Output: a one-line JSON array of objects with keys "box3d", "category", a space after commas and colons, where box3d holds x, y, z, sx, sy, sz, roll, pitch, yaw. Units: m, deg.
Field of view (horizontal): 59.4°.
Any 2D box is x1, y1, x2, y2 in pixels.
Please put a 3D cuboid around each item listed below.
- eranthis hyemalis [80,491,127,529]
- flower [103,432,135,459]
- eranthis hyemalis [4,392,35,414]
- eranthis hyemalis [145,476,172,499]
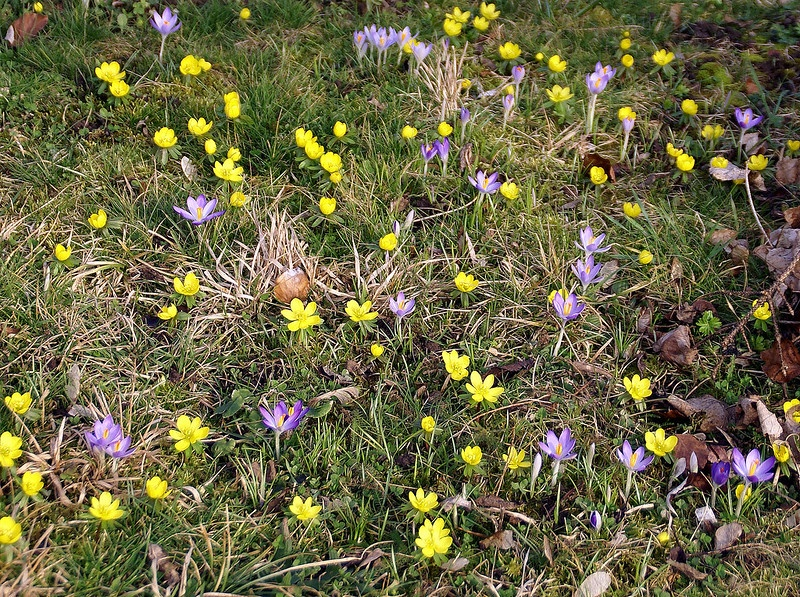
[{"box3d": [-1.354, 0.955, 3.190, 0.177, 0.086, 0.160, 39, 59, -20], "category": "eranthis hyemalis"}, {"box3d": [-1.334, 0.705, 3.330, 0.117, 0.086, 0.132, -17, 44, -24], "category": "flower"}, {"box3d": [-1.853, 0.505, 3.404, 0.107, 0.064, 0.098, -47, 108, -12], "category": "eranthis hyemalis"}, {"box3d": [-1.130, 0.883, 3.259, 0.076, 0.071, 0.066, 29, 31, 12], "category": "eranthis hyemalis"}]
